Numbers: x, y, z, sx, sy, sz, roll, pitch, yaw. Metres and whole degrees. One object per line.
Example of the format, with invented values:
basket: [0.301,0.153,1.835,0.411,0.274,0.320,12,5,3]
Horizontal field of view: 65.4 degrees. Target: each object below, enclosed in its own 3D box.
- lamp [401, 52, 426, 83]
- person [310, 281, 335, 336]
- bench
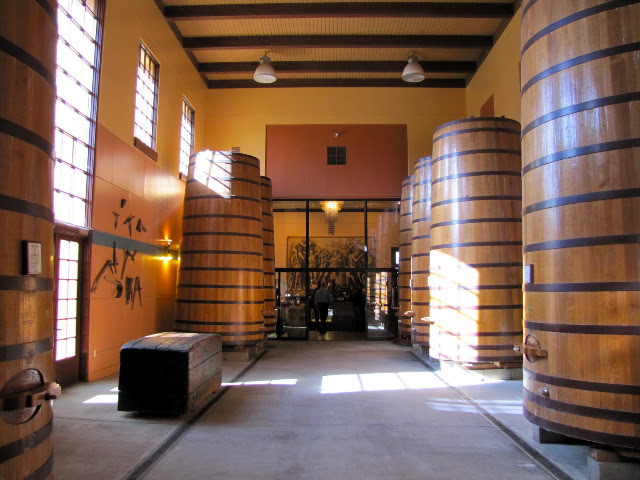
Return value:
lamp: [1.954,-3.641,10.328,0.388,0.625,0.517,-1,-4,17]
person: [0.125,1.639,12.133,0.503,1.316,0.394,3,-5,-41]
bench: [-1.545,1.360,5.187,0.717,0.734,0.989,0,-3,7]
